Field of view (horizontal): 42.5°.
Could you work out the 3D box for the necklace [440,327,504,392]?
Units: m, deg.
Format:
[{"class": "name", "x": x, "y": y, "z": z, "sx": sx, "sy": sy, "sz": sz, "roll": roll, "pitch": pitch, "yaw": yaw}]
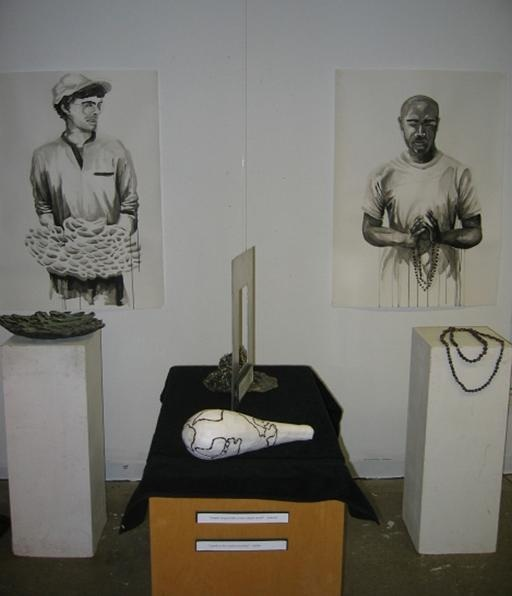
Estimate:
[{"class": "necklace", "x": 0.806, "y": 0.232, "z": 2.486, "sx": 0.237, "sy": 0.210, "sz": 0.209, "roll": 0, "pitch": 9, "yaw": 7}]
